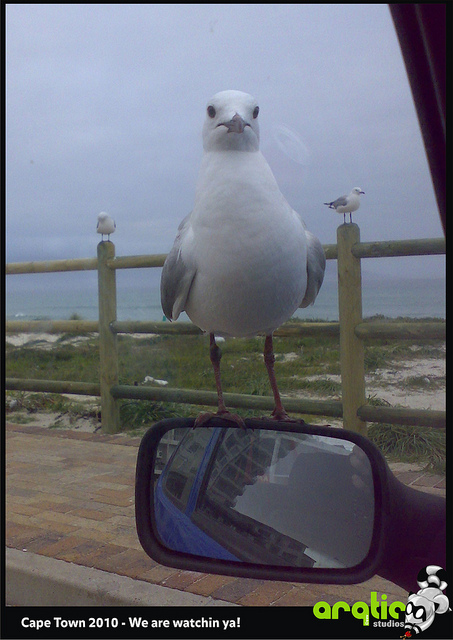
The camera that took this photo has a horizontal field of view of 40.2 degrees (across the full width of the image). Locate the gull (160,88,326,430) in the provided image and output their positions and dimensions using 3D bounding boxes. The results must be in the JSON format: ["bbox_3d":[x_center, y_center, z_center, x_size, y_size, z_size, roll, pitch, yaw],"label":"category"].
[{"bbox_3d":[0.028,-0.167,1.881,0.446,0.971,0.718,-6,11,-13],"label":"gull"}]

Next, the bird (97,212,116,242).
[{"bbox_3d":[-0.947,-0.776,4.956,0.117,0.181,0.196,1,0,-44],"label":"bird"}]
